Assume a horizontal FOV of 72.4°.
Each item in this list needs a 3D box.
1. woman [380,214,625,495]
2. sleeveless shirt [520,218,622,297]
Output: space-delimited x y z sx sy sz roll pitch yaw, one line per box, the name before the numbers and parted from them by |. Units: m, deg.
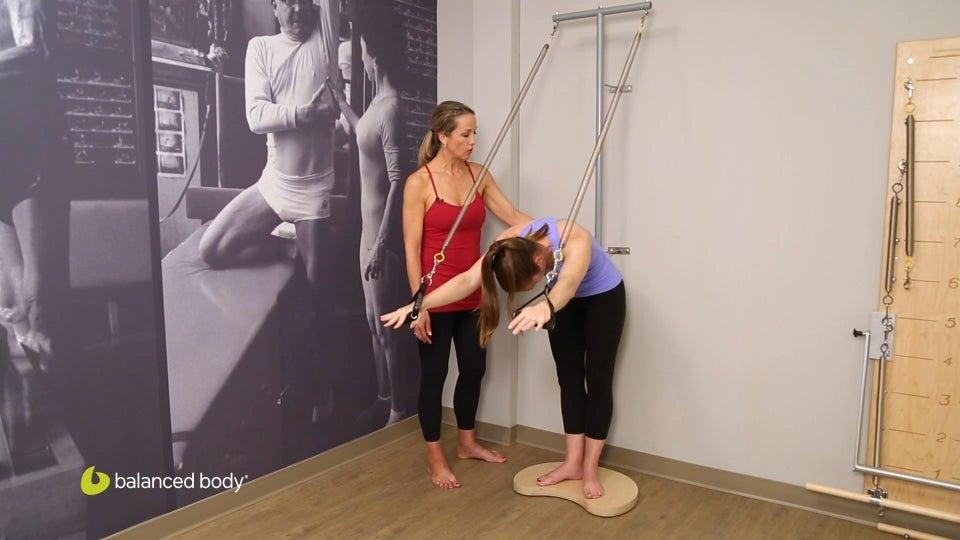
woman | 0.410 0.538 4.068 1.224 1.750 0.701 -7 14 -42
sleeveless shirt | 0.549 -0.072 3.918 0.456 0.342 0.230 35 38 -28
